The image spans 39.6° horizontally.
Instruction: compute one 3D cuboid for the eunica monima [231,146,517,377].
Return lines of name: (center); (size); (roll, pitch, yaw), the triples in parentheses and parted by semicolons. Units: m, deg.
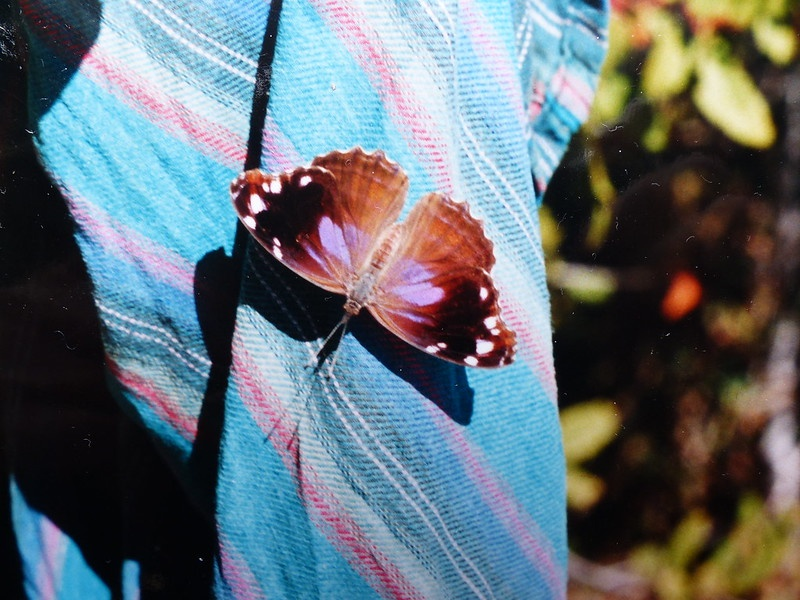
eunica monima: (-0.027, -0.041, 1.178); (0.297, 0.067, 0.225); (2, 76, -4)
